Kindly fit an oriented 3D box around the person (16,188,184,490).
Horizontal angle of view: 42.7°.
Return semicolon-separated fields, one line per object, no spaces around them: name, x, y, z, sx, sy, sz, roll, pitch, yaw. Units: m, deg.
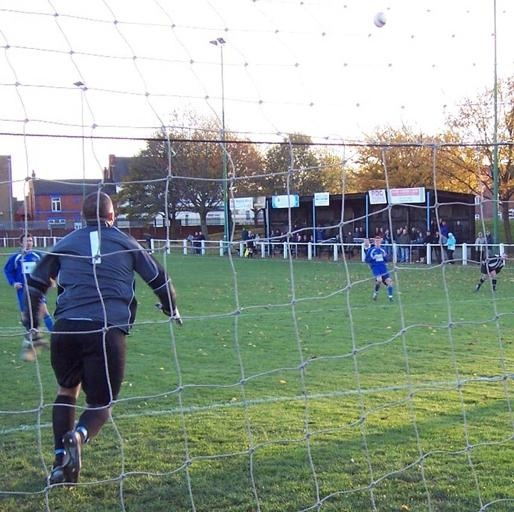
person;-0.980;0.482;4.184;0.941;1.777;0.611;-2;4;-16

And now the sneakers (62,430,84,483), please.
sneakers;-1.092;1.240;3.969;0.097;0.366;0.142;-2;10;-13

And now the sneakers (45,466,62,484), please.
sneakers;-1.223;1.349;3.993;0.067;0.123;0.053;28;3;-15
